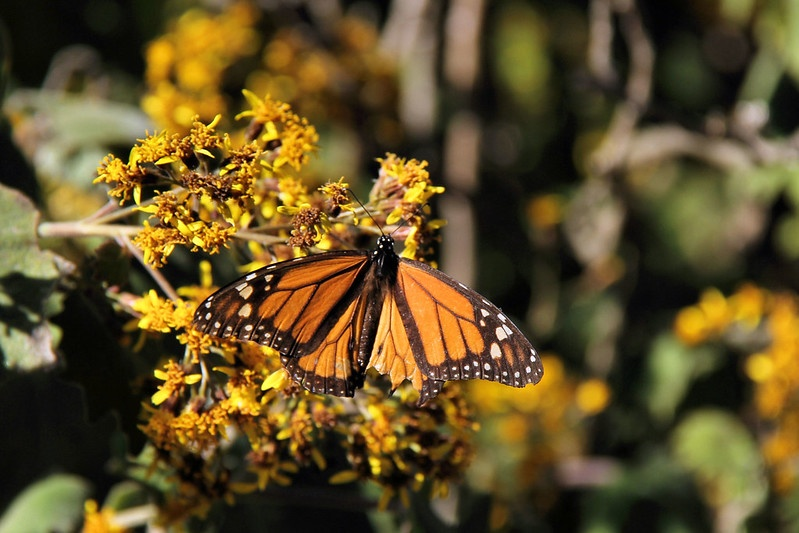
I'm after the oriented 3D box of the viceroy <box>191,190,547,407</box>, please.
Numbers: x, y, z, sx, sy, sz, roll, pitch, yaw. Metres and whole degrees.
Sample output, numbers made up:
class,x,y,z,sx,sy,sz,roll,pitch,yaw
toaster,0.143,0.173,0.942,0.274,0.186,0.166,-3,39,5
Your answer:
class,x,y,z,sx,sy,sz,roll,pitch,yaw
viceroy,-0.075,0.151,2.691,0.897,0.442,0.287,-4,25,1
